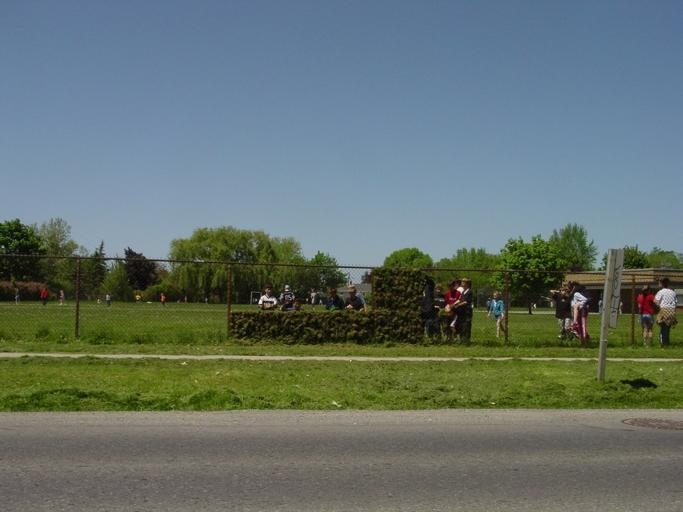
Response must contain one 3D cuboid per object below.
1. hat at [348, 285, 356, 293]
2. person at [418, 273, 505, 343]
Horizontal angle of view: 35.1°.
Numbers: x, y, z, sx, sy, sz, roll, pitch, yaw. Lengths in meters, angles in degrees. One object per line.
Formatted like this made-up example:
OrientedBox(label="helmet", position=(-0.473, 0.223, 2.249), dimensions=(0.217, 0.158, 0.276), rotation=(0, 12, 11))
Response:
OrientedBox(label="hat", position=(0.288, 0.896, 29.432), dimensions=(0.173, 0.159, 0.166), rotation=(5, -6, -28))
OrientedBox(label="person", position=(2.866, 1.453, 29.391), dimensions=(1.372, 1.795, 0.890), rotation=(1, 10, 1))
